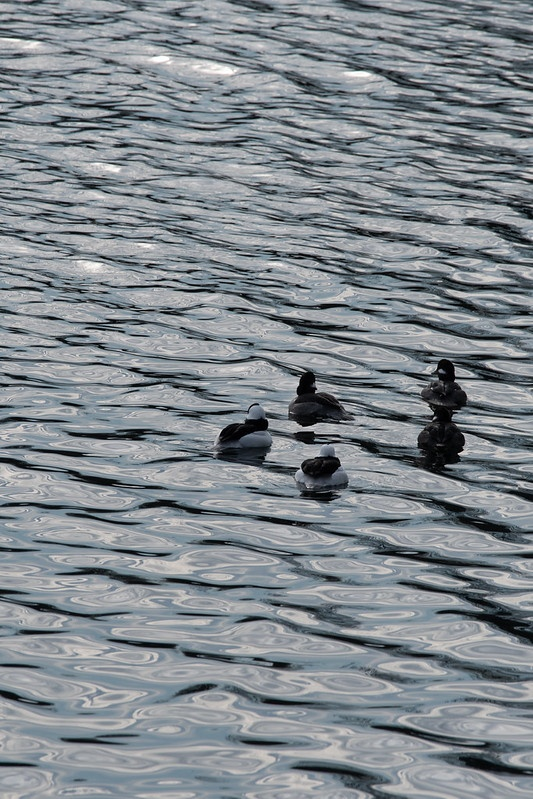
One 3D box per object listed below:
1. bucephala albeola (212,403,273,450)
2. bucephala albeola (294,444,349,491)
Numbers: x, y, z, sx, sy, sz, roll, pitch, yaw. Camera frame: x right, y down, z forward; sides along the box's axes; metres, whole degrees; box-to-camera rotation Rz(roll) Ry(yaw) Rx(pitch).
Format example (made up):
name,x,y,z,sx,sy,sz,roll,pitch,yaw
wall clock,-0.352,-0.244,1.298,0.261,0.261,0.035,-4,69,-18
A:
name,x,y,z,sx,sy,sz,roll,pitch,yaw
bucephala albeola,-0.265,0.364,16.685,0.455,0.378,0.813,8,13,33
bucephala albeola,0.679,0.800,15.664,0.464,0.371,0.635,4,14,20
